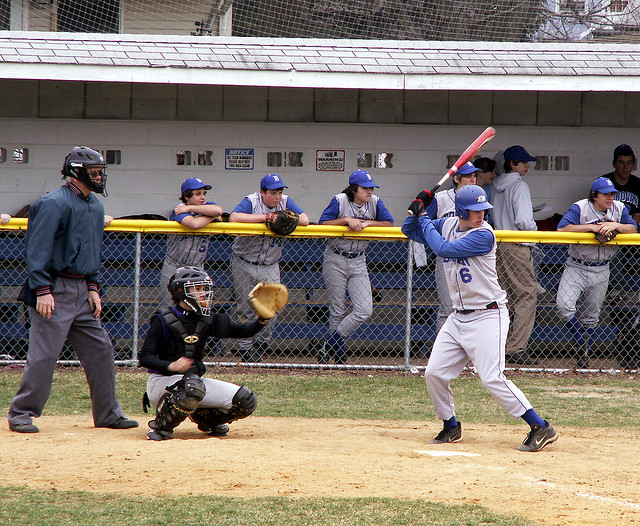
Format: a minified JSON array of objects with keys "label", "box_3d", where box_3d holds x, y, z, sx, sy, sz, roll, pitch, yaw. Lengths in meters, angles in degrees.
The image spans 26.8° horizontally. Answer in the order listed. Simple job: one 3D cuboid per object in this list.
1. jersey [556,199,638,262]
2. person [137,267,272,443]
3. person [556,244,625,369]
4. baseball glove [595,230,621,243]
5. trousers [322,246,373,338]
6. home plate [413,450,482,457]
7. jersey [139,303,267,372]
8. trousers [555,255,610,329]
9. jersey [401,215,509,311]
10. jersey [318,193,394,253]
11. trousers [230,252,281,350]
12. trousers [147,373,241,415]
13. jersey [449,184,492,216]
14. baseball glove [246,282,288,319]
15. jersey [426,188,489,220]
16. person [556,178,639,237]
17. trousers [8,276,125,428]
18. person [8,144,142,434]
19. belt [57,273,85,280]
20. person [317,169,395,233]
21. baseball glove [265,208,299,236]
[{"label":"jersey","box_3d":[2.901,-0.314,14.017,0.821,0.514,0.381,5,-5,-11]},{"label":"person","box_3d":[-1.063,0.789,11.623,0.985,1.482,0.428,2,3,-7]},{"label":"person","box_3d":[2.784,0.464,14.165,0.520,1.331,0.520,1,3,-12]},{"label":"baseball glove","box_3d":[2.956,-0.272,13.787,0.250,0.126,0.068,1,3,-17]},{"label":"trousers","box_3d":[0.281,0.304,14.104,0.532,0.954,0.375,2,2,3]},{"label":"home plate","box_3d":[1.074,1.612,11.331,0.562,0.018,0.180,2,2,7]},{"label":"jersey","box_3d":[-1.085,0.653,11.662,0.954,0.583,0.243,1,3,-7]},{"label":"trousers","box_3d":[2.784,0.309,14.217,0.528,0.784,0.305,2,3,8]},{"label":"jersey","box_3d":[1.183,0.002,11.739,0.775,0.828,0.461,4,3,41]},{"label":"jersey","box_3d":[0.326,-0.531,14.341,0.742,0.266,0.795,31,14,31]},{"label":"trousers","box_3d":[-0.631,0.415,14.052,0.493,1.271,0.327,-10,-42,11]},{"label":"trousers","box_3d":[-1.159,1.153,11.696,0.495,0.304,0.825,19,-10,-30]},{"label":"jersey","box_3d":[1.800,-0.761,15.133,0.388,0.416,0.197,3,-7,11]},{"label":"baseball glove","box_3d":[-0.453,0.312,11.620,0.319,0.321,0.148,19,-22,-8]},{"label":"jersey","box_3d":[1.261,-0.539,12.400,0.470,0.366,0.229,1,-14,-12]},{"label":"person","box_3d":[2.894,-0.556,14.100,0.670,0.369,0.745,3,-7,-2]},{"label":"trousers","box_3d":[-2.201,0.783,11.722,0.955,1.340,0.233,1,3,-26]},{"label":"person","box_3d":[-2.192,0.231,11.694,0.926,2.476,0.290,1,3,-27]},{"label":"belt","box_3d":[-2.168,0.115,11.651,0.222,0.055,0.054,0,3,-40]},{"label":"person","box_3d":[0.382,-0.627,14.084,0.873,0.564,1.164,3,-3,-17]},{"label":"baseball glove","box_3d":[-0.376,-0.414,13.551,0.254,0.149,0.309,-3,2,-30]}]
